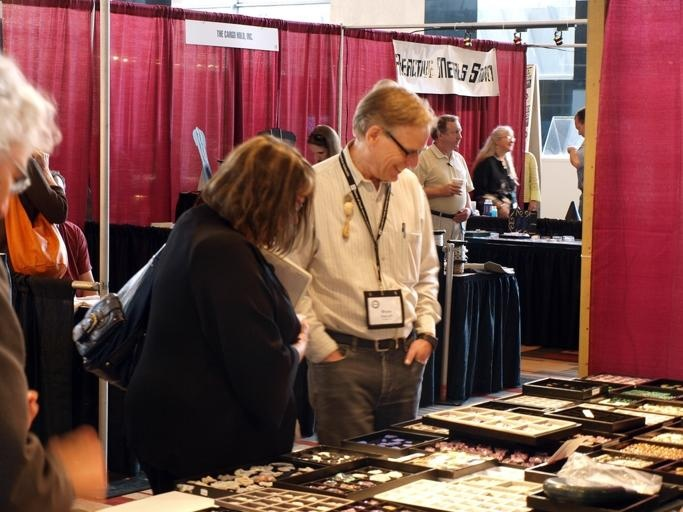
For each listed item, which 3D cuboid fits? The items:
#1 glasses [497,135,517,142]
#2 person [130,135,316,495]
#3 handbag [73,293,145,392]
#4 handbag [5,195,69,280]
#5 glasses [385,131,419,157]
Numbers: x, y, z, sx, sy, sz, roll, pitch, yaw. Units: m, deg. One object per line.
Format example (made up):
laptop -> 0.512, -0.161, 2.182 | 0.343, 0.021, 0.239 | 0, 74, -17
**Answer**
glasses -> 1.729, -1.227, 7.906 | 0.084, 0.059, 0.356 | 1, 5, 26
person -> -0.369, 0.193, 2.348 | 0.586, 1.129, 0.325 | -2, 4, -20
handbag -> -0.832, 0.301, 2.713 | 0.172, 0.328, 0.335 | 19, 26, -26
handbag -> -1.492, -0.090, 3.675 | 0.167, 0.546, 0.277 | -41, -32, 29
glasses -> 0.211, -0.401, 2.725 | 0.025, 0.097, 0.088 | -24, 1, 10
